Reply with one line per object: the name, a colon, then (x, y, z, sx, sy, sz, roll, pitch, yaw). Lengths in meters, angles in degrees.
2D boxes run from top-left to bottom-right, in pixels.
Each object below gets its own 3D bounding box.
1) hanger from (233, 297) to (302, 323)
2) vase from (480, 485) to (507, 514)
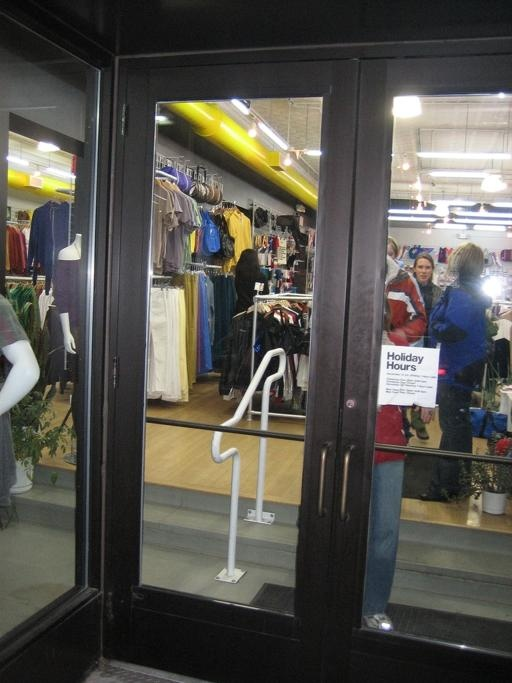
hanger: (0.070, -0.105, 1.756, 0.090, 0.031, 0.096, 16, 30, 40)
vase: (0.694, 0.457, 1.611, 0.065, 0.066, 0.068, 2, 4, 14)
